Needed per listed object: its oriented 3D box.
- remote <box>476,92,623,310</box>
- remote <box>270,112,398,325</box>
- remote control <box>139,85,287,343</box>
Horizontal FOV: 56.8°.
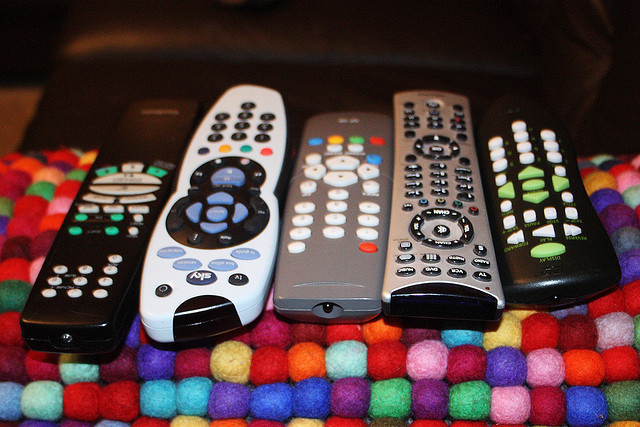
[{"bbox_3d":[0.196,-0.021,0.523,0.087,0.047,0.198,-6,48,13],"label":"remote"},{"bbox_3d":[0.012,0.016,0.542,0.090,0.051,0.195,2,42,3],"label":"remote"},{"bbox_3d":[-0.081,-0.011,0.552,0.110,0.056,0.282,7,50,4],"label":"remote control"}]
